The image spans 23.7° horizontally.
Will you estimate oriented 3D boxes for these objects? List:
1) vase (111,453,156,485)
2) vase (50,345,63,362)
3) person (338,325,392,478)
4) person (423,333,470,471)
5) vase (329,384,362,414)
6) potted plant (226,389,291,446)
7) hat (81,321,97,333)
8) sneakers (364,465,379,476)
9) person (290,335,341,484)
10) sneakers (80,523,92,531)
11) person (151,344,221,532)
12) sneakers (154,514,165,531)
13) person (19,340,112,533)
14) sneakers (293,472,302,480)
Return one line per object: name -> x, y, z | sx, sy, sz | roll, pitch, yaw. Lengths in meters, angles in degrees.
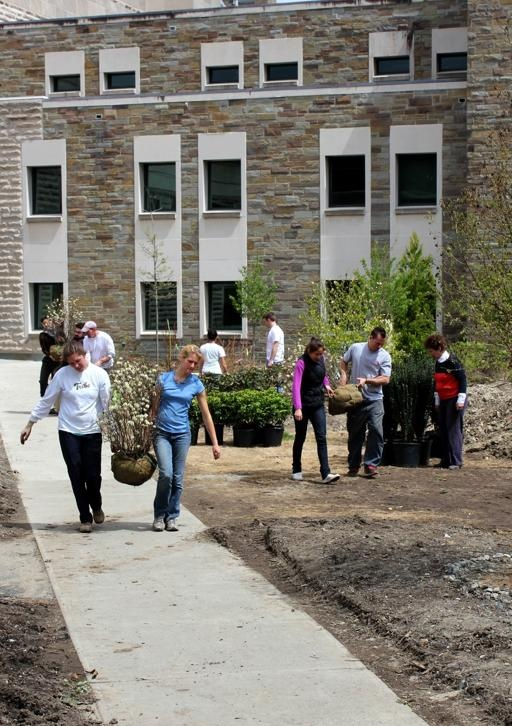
vase -> -1.039, 0.889, 10.305 | 0.256, 0.226, 0.318 | 3, -4, -39
vase -> -2.987, -0.155, 18.300 | 0.226, 0.242, 0.260 | 0, 1, 23
person -> 1.183, 0.424, 13.251 | 0.450, 1.616, 0.753 | -4, 4, -40
person -> 2.227, 0.442, 14.133 | 0.310, 1.551, 0.587 | -4, 4, -45
vase -> 0.957, 0.392, 13.001 | 0.239, 0.203, 0.360 | -2, 12, 21
potted plant -> 0.051, 0.720, 15.920 | 0.876, 0.828, 0.671 | 1, -4, -19
hat -> -2.306, -0.478, 16.600 | 0.239, 0.140, 0.183 | 6, 12, 20
sneakers -> 1.253, 1.182, 13.273 | 0.064, 0.079, 0.182 | -1, -6, -11
person -> 0.614, 0.487, 12.864 | 0.504, 1.513, 0.820 | -1, 3, 2
sneakers -> -1.391, 1.345, 9.981 | 0.096, 0.074, 0.132 | -2, 3, -10
person -> -0.601, 0.612, 10.171 | 0.549, 1.531, 0.485 | -2, 3, -4
sneakers -> -0.796, 1.314, 10.058 | 0.114, 0.140, 0.323 | 0, -4, -8
person -> -1.522, 0.598, 10.122 | 0.640, 1.554, 0.515 | -2, 3, -8
sneakers -> 0.446, 1.206, 12.992 | 0.053, 0.056, 0.126 | -2, 6, -8
